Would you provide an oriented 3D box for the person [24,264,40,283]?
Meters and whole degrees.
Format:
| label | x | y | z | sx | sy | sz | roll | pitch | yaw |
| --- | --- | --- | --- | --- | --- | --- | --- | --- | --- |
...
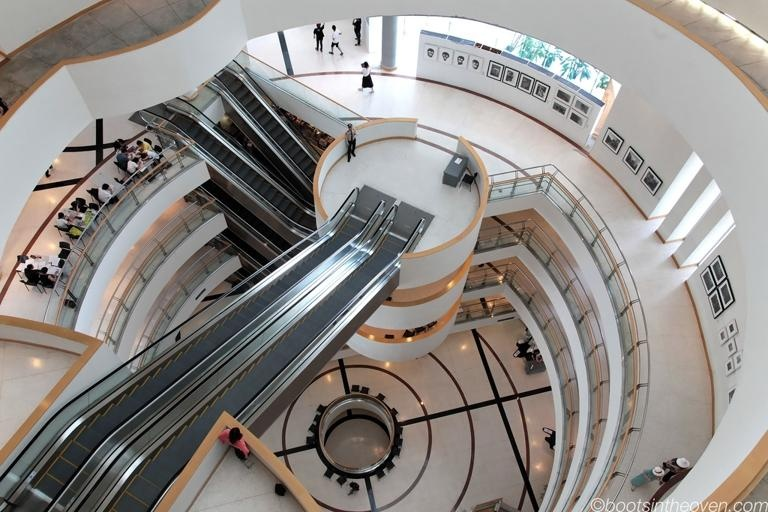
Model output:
| label | x | y | z | sx | sy | sz | roll | pitch | yaw |
| --- | --- | --- | --- | --- | --- | --- | --- | --- | --- |
| person | -12.264 | 0.673 | 18.650 | 0.514 | 0.730 | 0.319 | 15 | 10 | 29 |

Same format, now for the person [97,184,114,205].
| label | x | y | z | sx | sy | sz | roll | pitch | yaw |
| --- | --- | --- | --- | --- | --- | --- | --- | --- | --- |
| person | -10.343 | -2.257 | 19.922 | 0.485 | 0.698 | 1.389 | 5 | 10 | -29 |

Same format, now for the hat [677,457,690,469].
| label | x | y | z | sx | sy | sz | roll | pitch | yaw |
| --- | --- | --- | --- | --- | --- | --- | --- | --- | --- |
| hat | 8.335 | 5.758 | 14.930 | 0.439 | 0.255 | 0.235 | 9 | 8 | -10 |

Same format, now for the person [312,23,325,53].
| label | x | y | z | sx | sy | sz | roll | pitch | yaw |
| --- | --- | --- | --- | --- | --- | --- | --- | --- | --- |
| person | -3.219 | -10.867 | 26.762 | 0.532 | 1.359 | 1.546 | 8 | 9 | -10 |

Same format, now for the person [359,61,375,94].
| label | x | y | z | sx | sy | sz | roll | pitch | yaw |
| --- | --- | --- | --- | --- | --- | --- | --- | --- | --- |
| person | -0.753 | -8.379 | 25.421 | 0.704 | 1.293 | 1.151 | 9 | 8 | -4 |

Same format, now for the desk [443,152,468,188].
| label | x | y | z | sx | sy | sz | roll | pitch | yaw |
| --- | --- | --- | --- | --- | --- | --- | --- | --- | --- |
| desk | 2.646 | -3.083 | 19.557 | 0.917 | 1.209 | 0.604 | 8 | 9 | -16 |

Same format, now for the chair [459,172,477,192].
| label | x | y | z | sx | sy | sz | roll | pitch | yaw |
| --- | --- | --- | --- | --- | --- | --- | --- | --- | --- |
| chair | 3.104 | -2.744 | 19.642 | 0.543 | 0.578 | 0.780 | 21 | 11 | 3 |

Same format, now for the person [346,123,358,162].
| label | x | y | z | sx | sy | sz | roll | pitch | yaw |
| --- | --- | --- | --- | --- | --- | --- | --- | --- | --- |
| person | -1.242 | -4.146 | 19.973 | 0.460 | 1.367 | 0.942 | 10 | 8 | 4 |

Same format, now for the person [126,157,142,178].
| label | x | y | z | sx | sy | sz | roll | pitch | yaw |
| --- | --- | --- | --- | --- | --- | --- | --- | --- | --- |
| person | -9.697 | -3.407 | 20.807 | 0.444 | 0.679 | 0.757 | 56 | -11 | -32 |

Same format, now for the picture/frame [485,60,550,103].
| label | x | y | z | sx | sy | sz | roll | pitch | yaw |
| --- | --- | --- | --- | --- | --- | --- | --- | --- | --- |
| picture/frame | 5.983 | -7.716 | 23.821 | 2.944 | 1.429 | 0.399 | 14 | 10 | 25 |

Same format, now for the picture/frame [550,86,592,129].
| label | x | y | z | sx | sy | sz | roll | pitch | yaw |
| --- | --- | --- | --- | --- | --- | --- | --- | --- | --- |
| picture/frame | 7.982 | -6.329 | 22.707 | 1.992 | 0.087 | 1.417 | 39 | -22 | 25 |

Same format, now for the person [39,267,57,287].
| label | x | y | z | sx | sy | sz | roll | pitch | yaw |
| --- | --- | --- | --- | --- | --- | --- | --- | --- | --- |
| person | -11.718 | 0.769 | 18.677 | 0.593 | 0.363 | 1.000 | 4 | -34 | -24 |
